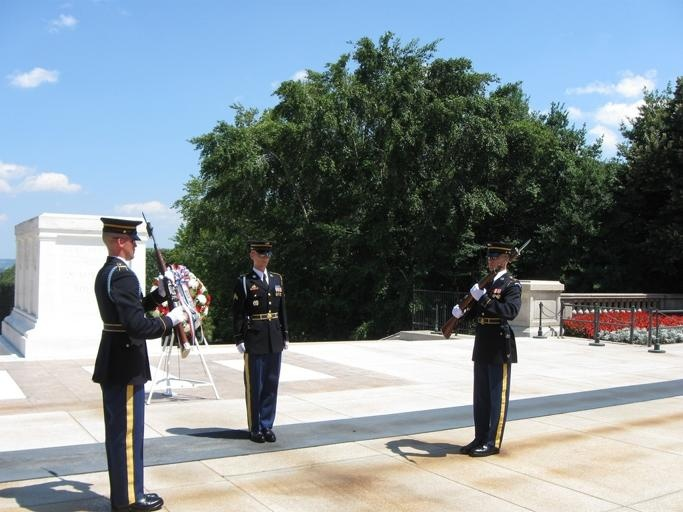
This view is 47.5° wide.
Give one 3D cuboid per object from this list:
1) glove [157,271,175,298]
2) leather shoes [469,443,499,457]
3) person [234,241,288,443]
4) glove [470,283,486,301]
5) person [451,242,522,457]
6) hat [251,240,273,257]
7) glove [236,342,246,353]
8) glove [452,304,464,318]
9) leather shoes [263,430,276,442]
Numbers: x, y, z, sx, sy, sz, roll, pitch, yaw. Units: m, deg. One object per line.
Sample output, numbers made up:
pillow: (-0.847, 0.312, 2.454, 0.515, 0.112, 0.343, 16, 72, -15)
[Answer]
glove: (-1.956, 0.283, 8.672, 0.144, 0.133, 0.492, -7, 24, 3)
leather shoes: (1.744, 2.385, 9.553, 0.329, 0.134, 0.135, 4, -3, -12)
person: (-1.068, 1.072, 9.982, 0.671, 2.476, 0.768, 1, 5, 1)
glove: (1.657, 0.451, 9.516, 0.154, 0.161, 0.202, 1, 11, -14)
person: (1.820, 1.140, 9.662, 0.704, 2.582, 0.725, 2, 5, 11)
hat: (-1.059, -0.094, 10.082, 0.208, 0.119, 0.216, 1, 3, -36)
glove: (-1.285, 1.163, 9.849, 0.092, 0.106, 0.113, 3, -9, -25)
glove: (1.451, 0.705, 9.785, 0.125, 0.180, 0.070, 3, 8, 4)
leather shoes: (-0.900, 2.271, 9.779, 0.155, 0.127, 0.127, -1, 5, -25)
